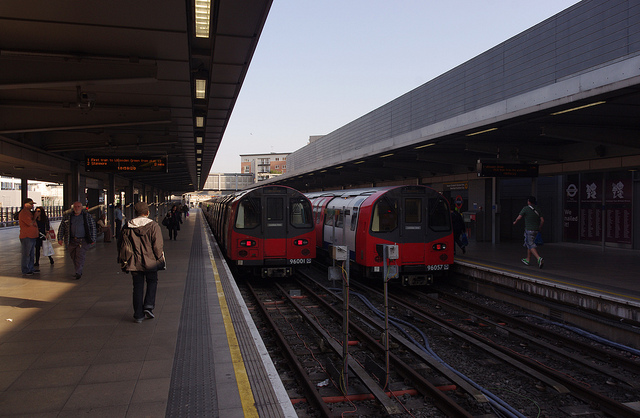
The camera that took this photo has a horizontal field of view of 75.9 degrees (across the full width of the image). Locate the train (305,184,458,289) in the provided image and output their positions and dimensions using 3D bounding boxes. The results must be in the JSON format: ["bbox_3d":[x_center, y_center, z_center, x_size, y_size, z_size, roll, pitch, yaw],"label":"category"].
[{"bbox_3d":[1.719,0.971,18.657,3.046,3.150,12.249,1,-1,-10],"label":"train"}]

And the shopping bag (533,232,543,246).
[{"bbox_3d":[9.905,1.446,18.545,0.269,0.646,1.160,3,8,30],"label":"shopping bag"}]

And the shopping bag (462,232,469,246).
[{"bbox_3d":[5.678,1.242,16.029,0.124,0.470,0.507,-1,-5,14],"label":"shopping bag"}]

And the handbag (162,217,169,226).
[{"bbox_3d":[-9.605,0.849,25.461,0.555,0.573,0.544,5,-7,-22],"label":"handbag"}]
